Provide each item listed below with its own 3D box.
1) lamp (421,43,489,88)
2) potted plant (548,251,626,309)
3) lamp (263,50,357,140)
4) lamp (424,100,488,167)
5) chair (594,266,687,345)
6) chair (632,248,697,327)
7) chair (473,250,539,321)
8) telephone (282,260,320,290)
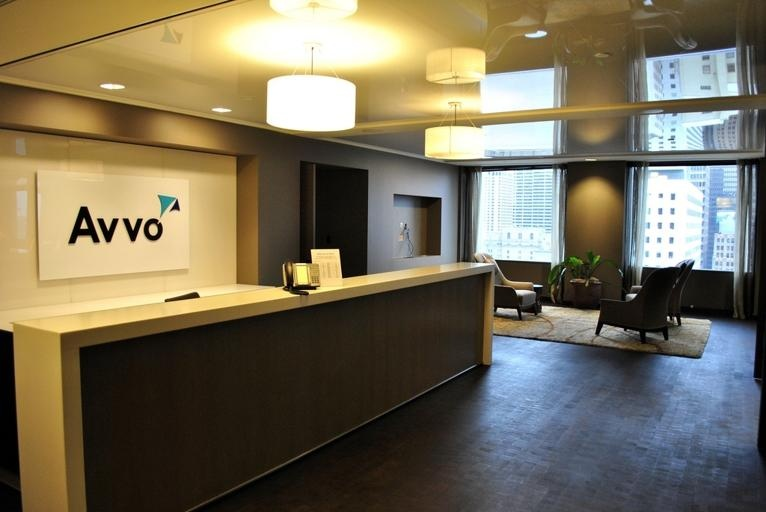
[{"bbox_3d":[0.686,-1.781,4.885,0.649,0.216,0.666,4,7,42],"label":"lamp"},{"bbox_3d":[4.142,0.527,10.773,1.295,0.927,1.287,3,-5,-17],"label":"potted plant"},{"bbox_3d":[-0.592,-1.407,4.494,0.574,0.634,0.582,3,7,7],"label":"lamp"},{"bbox_3d":[0.853,-1.475,6.429,0.642,0.563,0.642,-1,7,-24],"label":"lamp"},{"bbox_3d":[4.018,0.657,8.008,0.904,1.152,1.083,-11,12,-40],"label":"chair"},{"bbox_3d":[4.661,0.665,8.855,0.860,1.171,1.073,-18,10,-24],"label":"chair"},{"bbox_3d":[2.281,0.543,9.540,0.986,1.070,0.827,2,4,41],"label":"chair"},{"bbox_3d":[-0.673,0.161,4.331,0.319,0.225,0.242,-2,11,-14],"label":"telephone"}]
